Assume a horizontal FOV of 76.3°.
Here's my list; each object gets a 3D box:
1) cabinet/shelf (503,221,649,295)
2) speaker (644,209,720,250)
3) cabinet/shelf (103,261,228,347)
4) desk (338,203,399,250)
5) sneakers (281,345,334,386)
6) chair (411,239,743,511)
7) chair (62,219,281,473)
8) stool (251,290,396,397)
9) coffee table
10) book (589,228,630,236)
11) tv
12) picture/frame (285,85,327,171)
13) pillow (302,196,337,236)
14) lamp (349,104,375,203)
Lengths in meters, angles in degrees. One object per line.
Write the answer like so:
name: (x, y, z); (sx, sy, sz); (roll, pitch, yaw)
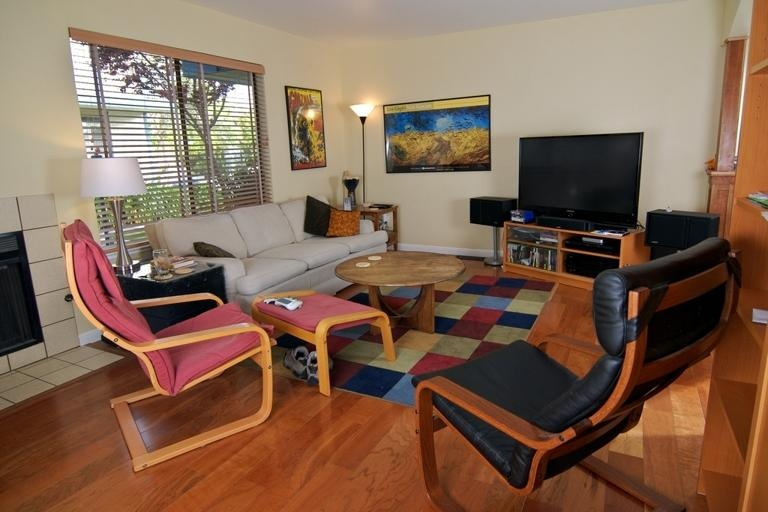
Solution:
cabinet/shelf: (2.105, -0.123, 5.606); (1.656, 0.779, 0.748); (10, 20, 32)
speaker: (2.966, -0.246, 4.819); (0.355, 0.359, 0.600); (-9, 13, -34)
cabinet/shelf: (-1.750, 0.319, 4.292); (0.751, 0.519, 0.731); (-24, 9, -40)
desk: (-0.170, -0.482, 6.731); (0.590, 0.686, 0.743); (8, 14, 32)
sneakers: (-0.590, 0.837, 3.800); (0.176, 0.185, 0.454); (-14, 17, -41)
chair: (0.967, 0.684, 2.531); (1.613, 1.478, 0.764); (-3, 15, 2)
chair: (-1.460, 0.521, 3.407); (1.119, 1.317, 1.016); (-11, 17, -36)
stool: (-0.515, 0.606, 3.941); (0.724, 0.443, 0.964); (-8, 12, -40)
coffee table: (0.176, 0.370, 4.482); (1.142, 0.550, 1.145); (9, 15, 35)
book: (2.350, -0.241, 5.084); (0.316, 0.024, 0.248); (8, 18, 41)
tv: (2.135, -0.822, 5.459); (0.382, 1.020, 1.442); (-13, 17, -37)
picture/frame: (-1.020, -1.643, 6.353); (0.137, 1.033, 0.700); (3, 16, 25)
pillow: (-0.786, -0.456, 5.823); (0.433, 0.386, 0.131); (10, 3, 35)
lamp: (-0.307, -1.423, 6.904); (0.377, 1.379, 0.289); (1, 16, 19)
